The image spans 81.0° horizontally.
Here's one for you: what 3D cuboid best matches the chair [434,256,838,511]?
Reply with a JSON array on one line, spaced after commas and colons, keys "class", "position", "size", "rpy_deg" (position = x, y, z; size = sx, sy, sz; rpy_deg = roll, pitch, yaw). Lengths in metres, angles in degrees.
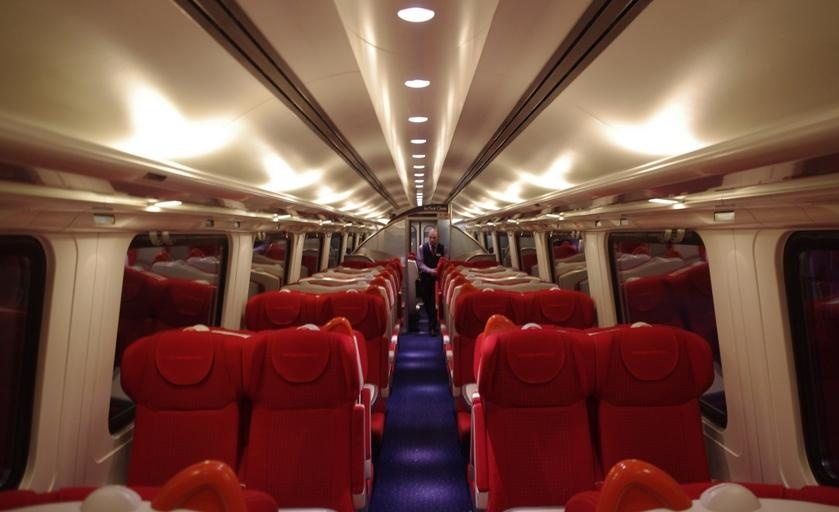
[{"class": "chair", "position": [1.547, 1.238, 5.083], "size": [2.003, 1.739, 1.670], "rpy_deg": [1, -11, -4]}]
